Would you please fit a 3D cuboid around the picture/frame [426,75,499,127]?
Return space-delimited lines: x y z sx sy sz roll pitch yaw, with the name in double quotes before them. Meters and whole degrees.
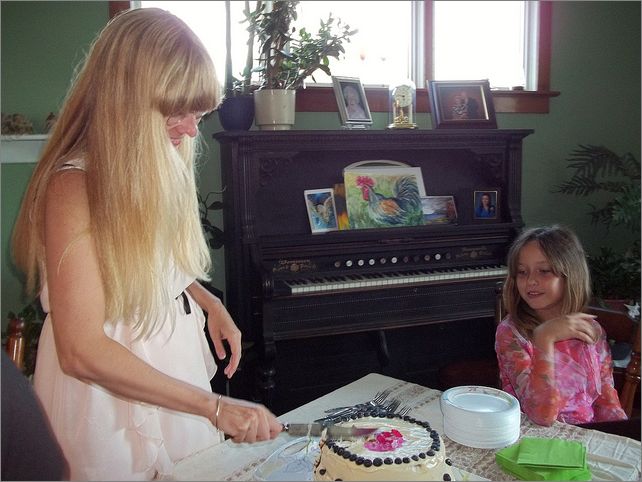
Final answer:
"picture/frame" 0.957 -0.939 3.166 0.598 0.488 0.103 0 -24 -5

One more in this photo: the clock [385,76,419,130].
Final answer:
"clock" 0.567 -0.948 3.237 0.195 0.347 0.638 -3 12 13

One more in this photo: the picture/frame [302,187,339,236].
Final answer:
"picture/frame" 0.011 -0.188 2.890 0.189 0.255 0.150 -8 12 -9

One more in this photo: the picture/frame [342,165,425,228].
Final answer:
"picture/frame" 0.384 -0.274 3.005 0.435 0.296 0.021 -3 -10 -11

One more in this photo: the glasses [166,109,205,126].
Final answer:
"glasses" -0.325 -0.285 1.074 0.055 0.016 0.055 -11 4 26

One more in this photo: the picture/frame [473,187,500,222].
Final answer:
"picture/frame" 1.112 -0.236 3.114 0.231 0.257 0.032 0 -2 2
